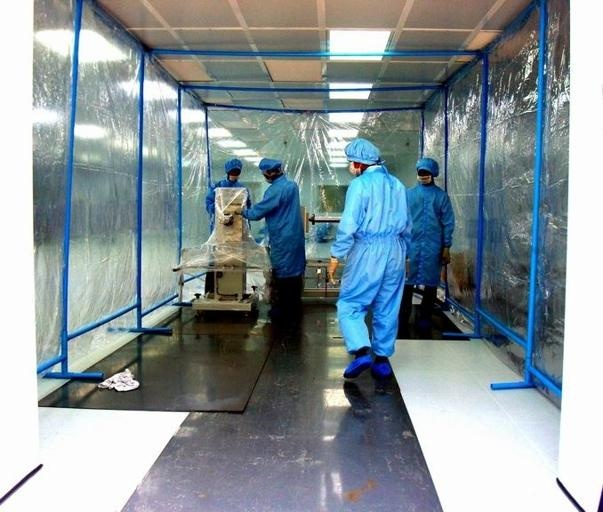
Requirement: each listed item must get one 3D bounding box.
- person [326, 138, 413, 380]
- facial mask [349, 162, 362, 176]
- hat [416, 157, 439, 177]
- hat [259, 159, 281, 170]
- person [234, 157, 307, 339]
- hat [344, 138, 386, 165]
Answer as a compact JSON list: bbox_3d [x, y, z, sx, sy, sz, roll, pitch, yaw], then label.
[{"bbox_3d":[0.411,0.018,2.890,0.464,1.521,0.554,4,9,22],"label":"person"},{"bbox_3d":[0.349,-0.572,2.973,0.080,0.073,0.070,-27,21,-20],"label":"facial mask"},{"bbox_3d":[1.138,-0.804,4.116,0.143,0.164,0.300,6,11,34],"label":"hat"},{"bbox_3d":[-0.311,-0.885,4.421,0.265,0.113,0.309,0,3,1],"label":"hat"},{"bbox_3d":[-0.263,-0.179,4.442,0.580,1.504,0.825,0,8,0],"label":"person"},{"bbox_3d":[0.379,-0.699,2.974,0.169,0.126,0.223,7,12,-17],"label":"hat"}]
